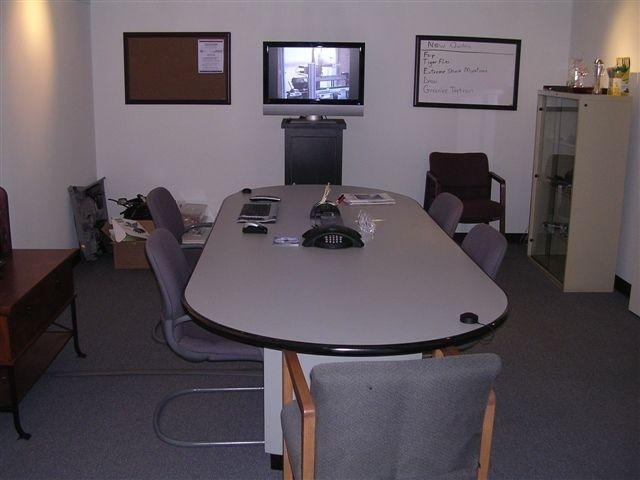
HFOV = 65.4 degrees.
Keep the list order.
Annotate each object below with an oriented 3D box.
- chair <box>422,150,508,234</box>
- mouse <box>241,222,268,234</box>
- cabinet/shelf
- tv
[{"bbox_3d":[1.609,-0.538,5.686,0.844,1.214,0.926,-1,13,-5],"label":"chair"},{"bbox_3d":[-0.409,-0.074,3.147,0.116,0.050,0.078,-1,21,2],"label":"mouse"},{"bbox_3d":[2.417,-0.475,4.707,0.467,1.740,0.871,-1,17,-4],"label":"cabinet/shelf"},{"bbox_3d":[-0.078,-1.704,5.329,0.840,0.631,0.061,0,9,-3],"label":"tv"}]
